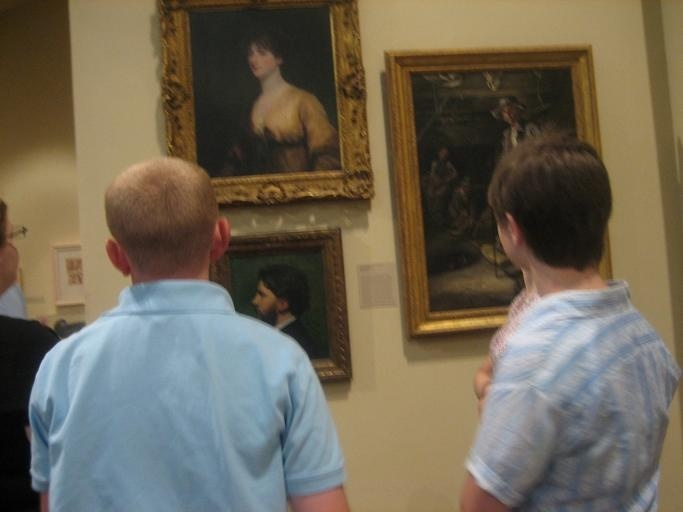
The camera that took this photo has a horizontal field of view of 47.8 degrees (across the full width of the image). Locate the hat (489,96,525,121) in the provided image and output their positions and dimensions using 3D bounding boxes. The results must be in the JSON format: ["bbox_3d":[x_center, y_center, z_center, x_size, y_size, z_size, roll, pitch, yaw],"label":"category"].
[{"bbox_3d":[1.013,-0.864,4.586,0.154,0.155,0.060,-45,1,1],"label":"hat"}]

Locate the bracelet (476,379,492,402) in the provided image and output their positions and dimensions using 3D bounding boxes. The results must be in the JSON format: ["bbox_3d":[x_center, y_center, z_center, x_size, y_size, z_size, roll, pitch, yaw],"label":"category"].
[{"bbox_3d":[0.632,0.577,3.323,0.041,0.085,0.084,8,-6,4],"label":"bracelet"}]

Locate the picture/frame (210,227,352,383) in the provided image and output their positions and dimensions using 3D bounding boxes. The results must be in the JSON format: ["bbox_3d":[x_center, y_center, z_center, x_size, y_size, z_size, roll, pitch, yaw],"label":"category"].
[{"bbox_3d":[-0.309,0.258,3.956,0.784,0.866,0.063,0,-1,-3],"label":"picture/frame"}]
